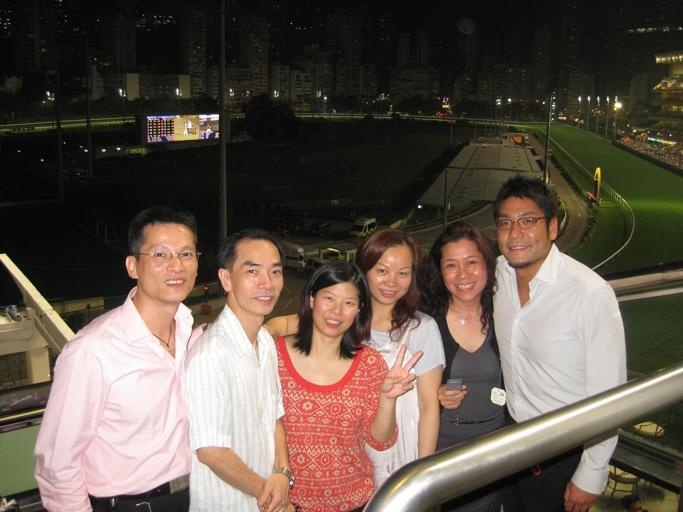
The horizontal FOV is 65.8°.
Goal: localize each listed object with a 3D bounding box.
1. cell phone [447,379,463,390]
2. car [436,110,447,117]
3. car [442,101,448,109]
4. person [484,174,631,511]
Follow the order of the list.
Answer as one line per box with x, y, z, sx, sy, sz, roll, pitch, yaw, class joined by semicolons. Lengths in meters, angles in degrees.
0.533;0.608;2.483;0.049;0.015;0.061;-4;7;-3;cell phone
17.641;-25.130;93.288;1.146;1.268;3.232;-3;13;-11;car
18.663;-26.690;93.778;0.929;1.247;1.963;-3;13;-12;car
0.995;0.403;2.433;0.615;1.462;1.001;3;12;16;person
